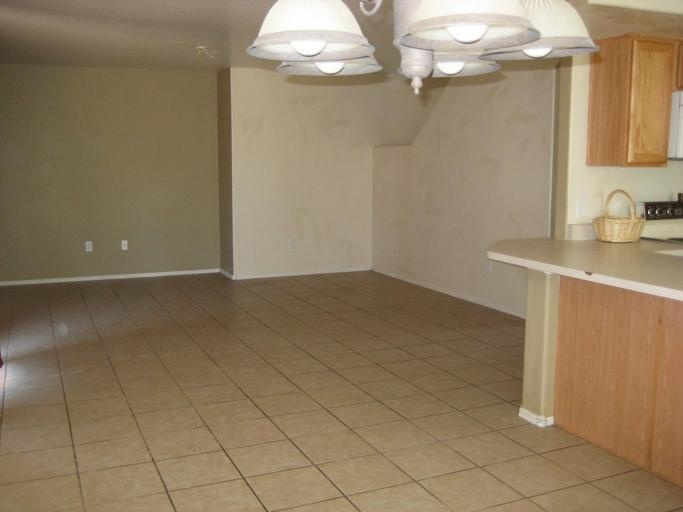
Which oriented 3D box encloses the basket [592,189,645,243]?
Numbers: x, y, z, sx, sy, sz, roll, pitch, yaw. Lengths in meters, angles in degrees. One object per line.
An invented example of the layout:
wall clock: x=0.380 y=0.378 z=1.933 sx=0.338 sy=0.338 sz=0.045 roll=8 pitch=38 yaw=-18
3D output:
basket: x=1.888 y=-0.250 z=3.500 sx=0.397 sy=0.364 sz=0.387 roll=-1 pitch=1 yaw=-21

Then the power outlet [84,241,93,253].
power outlet: x=-3.313 y=-0.132 z=6.835 sx=0.150 sy=0.198 sz=0.026 roll=-2 pitch=3 yaw=-31

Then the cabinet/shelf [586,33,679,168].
cabinet/shelf: x=1.954 y=-1.040 z=3.517 sx=0.604 sy=0.833 sz=0.213 roll=-1 pitch=10 yaw=-8
